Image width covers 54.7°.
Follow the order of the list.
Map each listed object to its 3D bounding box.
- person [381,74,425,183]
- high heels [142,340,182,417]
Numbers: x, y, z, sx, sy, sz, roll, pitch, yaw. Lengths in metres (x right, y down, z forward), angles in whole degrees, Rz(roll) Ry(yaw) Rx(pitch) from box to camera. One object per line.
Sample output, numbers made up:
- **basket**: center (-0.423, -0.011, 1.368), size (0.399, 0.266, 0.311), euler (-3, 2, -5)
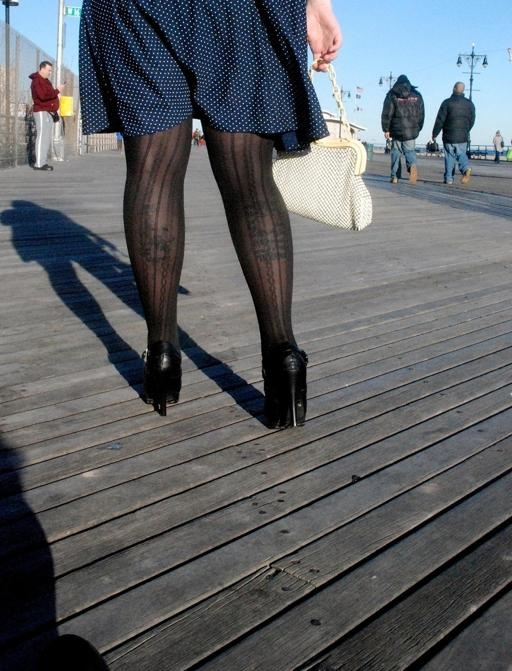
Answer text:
- **person**: center (3.207, -4.497, 10.886), size (0.870, 2.319, 0.502), euler (-2, 8, -18)
- **high heels**: center (-0.211, 0.094, 1.217), size (0.132, 0.158, 0.188), euler (-1, 18, -11)
